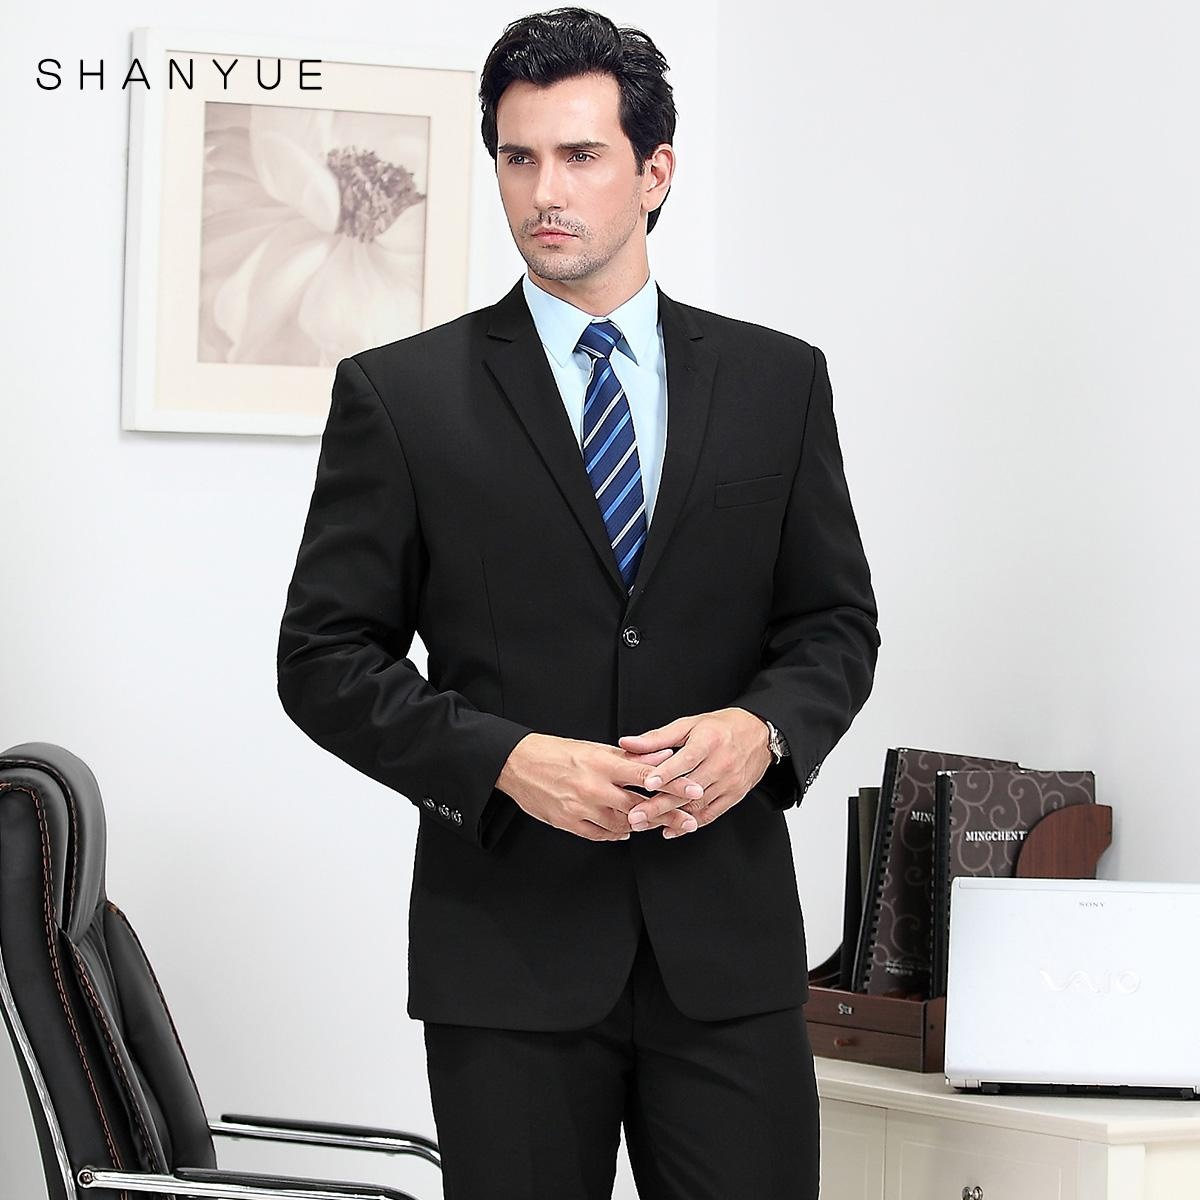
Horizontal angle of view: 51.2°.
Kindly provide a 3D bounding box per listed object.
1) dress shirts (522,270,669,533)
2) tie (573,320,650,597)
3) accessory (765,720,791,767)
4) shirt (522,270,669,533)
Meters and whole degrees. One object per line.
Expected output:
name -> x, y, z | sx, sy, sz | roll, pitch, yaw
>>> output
dress shirts -> 0.006, -0.179, 1.218 | 0.116, 0.257, 0.050 | -3, -20, -4
tie -> 0.016, -0.131, 1.139 | 0.046, 0.277, 0.012 | -3, -21, -9
accessory -> 0.154, 0.123, 1.068 | 0.019, 0.042, 0.034 | 6, 8, 19
shirt -> 0.012, -0.187, 1.150 | 0.116, 0.257, 0.050 | -3, -20, -4
